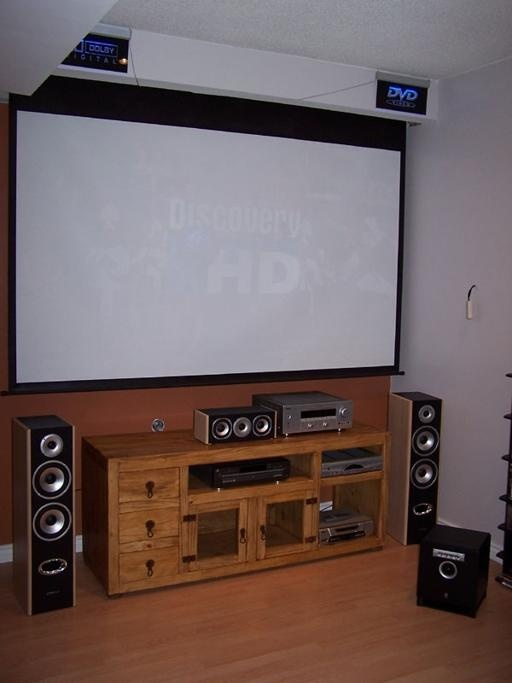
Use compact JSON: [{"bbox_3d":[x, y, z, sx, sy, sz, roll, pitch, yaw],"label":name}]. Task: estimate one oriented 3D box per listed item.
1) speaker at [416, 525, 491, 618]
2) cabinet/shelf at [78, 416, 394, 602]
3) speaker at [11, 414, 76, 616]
[{"bbox_3d":[0.888,1.041,2.674,0.318,0.339,0.328,1,3,30],"label":"speaker"},{"bbox_3d":[-0.097,0.827,3.091,1.592,0.757,0.566,1,0,-26],"label":"cabinet/shelf"},{"bbox_3d":[-0.935,0.753,2.523,0.267,0.769,0.339,1,0,-22],"label":"speaker"}]
